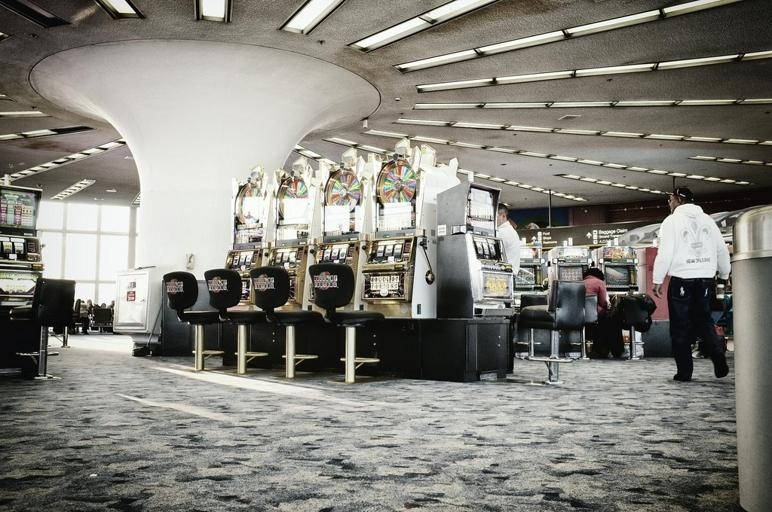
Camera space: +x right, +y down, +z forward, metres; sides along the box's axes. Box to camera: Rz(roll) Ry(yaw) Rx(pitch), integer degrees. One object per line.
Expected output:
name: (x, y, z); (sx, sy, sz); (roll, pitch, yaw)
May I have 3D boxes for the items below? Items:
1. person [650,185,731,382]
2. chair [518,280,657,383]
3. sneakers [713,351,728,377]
person: (3.278, 0.392, 6.028); (0.758, 1.917, 0.374); (-1, -3, 17)
chair: (2.912, 1.145, 8.074); (1.556, 0.964, 0.810); (3, -5, -34)
sneakers: (3.577, 1.176, 6.016); (0.155, 0.324, 0.148); (-9, 13, 23)
